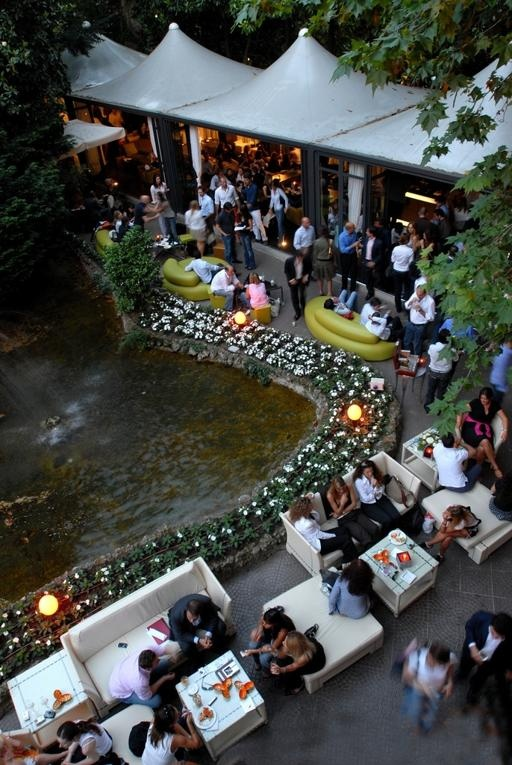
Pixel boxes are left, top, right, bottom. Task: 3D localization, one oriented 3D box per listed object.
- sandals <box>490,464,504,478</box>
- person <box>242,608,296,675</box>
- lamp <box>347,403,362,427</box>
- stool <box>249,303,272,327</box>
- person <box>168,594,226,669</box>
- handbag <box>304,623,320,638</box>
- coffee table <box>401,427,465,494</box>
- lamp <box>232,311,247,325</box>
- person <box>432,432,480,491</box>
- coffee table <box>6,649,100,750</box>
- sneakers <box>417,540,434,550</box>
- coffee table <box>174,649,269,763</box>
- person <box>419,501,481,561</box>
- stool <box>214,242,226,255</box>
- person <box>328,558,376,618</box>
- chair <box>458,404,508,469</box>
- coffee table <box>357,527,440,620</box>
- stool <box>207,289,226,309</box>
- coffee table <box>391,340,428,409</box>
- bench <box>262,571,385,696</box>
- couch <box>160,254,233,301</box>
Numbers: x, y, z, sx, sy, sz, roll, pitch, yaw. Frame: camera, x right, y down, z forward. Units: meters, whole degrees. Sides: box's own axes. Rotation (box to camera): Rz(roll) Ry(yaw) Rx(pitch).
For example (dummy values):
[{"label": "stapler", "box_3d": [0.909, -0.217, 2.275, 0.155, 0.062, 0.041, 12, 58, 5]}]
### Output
[{"label": "sandals", "box_3d": [3.127, 1.166, 6.407, 0.084, 0.085, 0.237, -41, 53, 13]}, {"label": "person", "box_3d": [0.116, 2.487, 4.716, 0.536, 0.809, 0.308, -18, 33, -28]}, {"label": "lamp", "box_3d": [1.497, 0.512, 7.492, 0.066, 0.285, 0.288, -12, 45, 43]}, {"label": "stool", "box_3d": [0.133, -1.379, 10.125, 0.372, 0.373, 0.377, -24, 61, -11]}, {"label": "person", "box_3d": [-0.586, 2.503, 4.908, 0.473, 0.708, 0.496, -26, 64, -12]}, {"label": "handbag", "box_3d": [0.543, 2.402, 4.733, 0.062, 0.089, 0.205, 39, 75, 25]}, {"label": "coffee table", "box_3d": [2.322, 0.988, 6.653, 0.759, 0.579, 0.759, -37, 48, -15]}, {"label": "lamp", "box_3d": [-0.313, -1.299, 10.069, 0.147, 0.269, 0.263, -10, 26, -39]}, {"label": "person", "box_3d": [2.416, 0.963, 5.937, 0.509, 0.995, 0.589, 16, 83, 25]}, {"label": "coffee table", "box_3d": [-1.979, 3.061, 4.853, 0.688, 0.653, 0.702, -24, 57, -19]}, {"label": "sneakers", "box_3d": [1.963, 1.913, 5.770, 0.193, 0.085, 0.071, -3, 37, -6]}, {"label": "coffee table", "box_3d": [-0.324, 2.825, 4.387, 0.729, 0.544, 0.724, -26, 52, -22]}, {"label": "person", "box_3d": [2.122, 1.622, 5.451, 0.704, 0.663, 0.334, -20, 35, -19]}, {"label": "stool", "box_3d": [-0.890, -3.345, 12.330, 0.260, 0.263, 0.273, 17, 59, 11]}, {"label": "person", "box_3d": [0.892, 2.018, 4.709, 0.477, 0.789, 0.272, -9, 26, 9]}, {"label": "chair", "box_3d": [2.852, 0.681, 6.253, 0.585, 0.947, 0.676, 5, 57, 11]}, {"label": "coffee table", "box_3d": [1.518, 1.989, 5.429, 0.771, 0.693, 0.766, -37, 54, -15]}, {"label": "stool", "box_3d": [-0.833, -1.800, 10.519, 0.359, 0.341, 0.369, -6, 45, -9]}, {"label": "coffee table", "box_3d": [2.495, -0.095, 7.996, 0.564, 0.888, 0.509, 35, 66, 26]}, {"label": "bench", "box_3d": [0.649, 2.528, 4.923, 0.909, 0.349, 0.945, -28, 47, -21]}, {"label": "couch", "box_3d": [-1.314, -2.201, 11.652, 1.218, 0.534, 1.225, -25, 48, -20]}]
